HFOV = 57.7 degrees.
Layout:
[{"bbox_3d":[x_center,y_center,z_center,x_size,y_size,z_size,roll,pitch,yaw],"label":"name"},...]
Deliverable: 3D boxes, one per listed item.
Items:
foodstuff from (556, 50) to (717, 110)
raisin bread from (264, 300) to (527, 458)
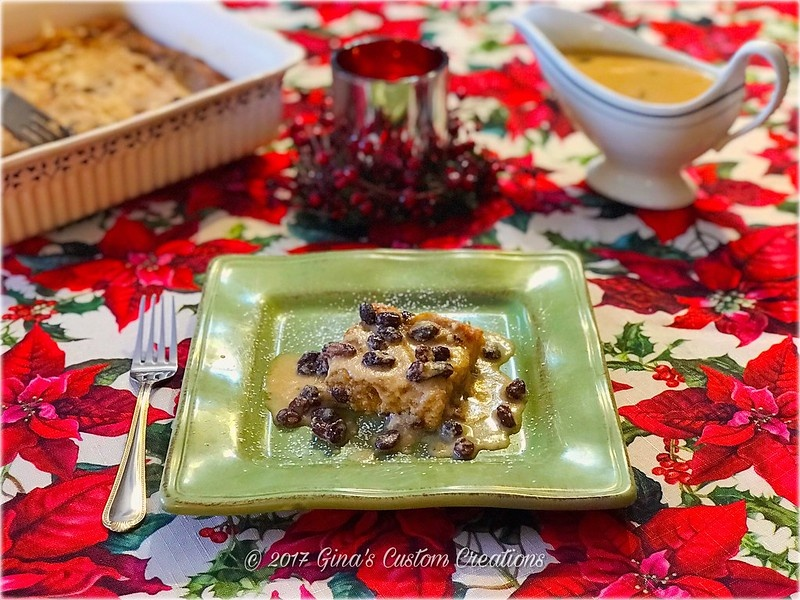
[{"bbox_3d":[0.673,-0.642,2.192,0.487,0.200,0.490,0,19,20],"label":"foodstuff"},{"bbox_3d":[0.003,0.168,1.456,0.353,0.366,0.100,13,-57,15],"label":"raisin bread"}]
